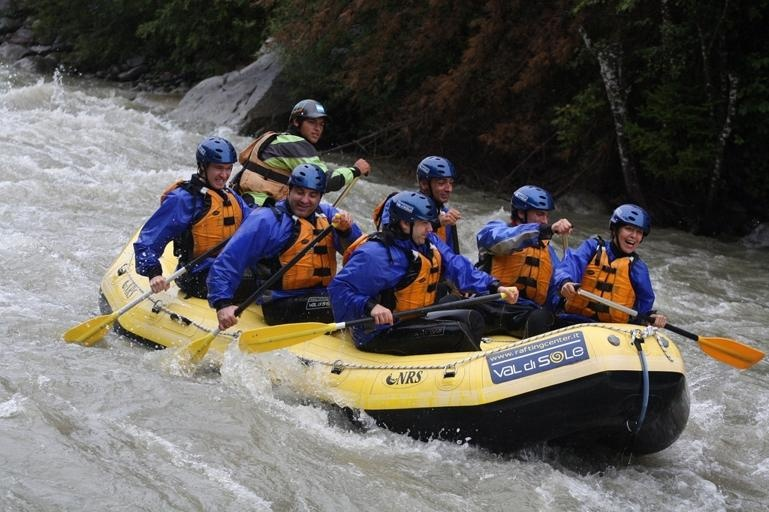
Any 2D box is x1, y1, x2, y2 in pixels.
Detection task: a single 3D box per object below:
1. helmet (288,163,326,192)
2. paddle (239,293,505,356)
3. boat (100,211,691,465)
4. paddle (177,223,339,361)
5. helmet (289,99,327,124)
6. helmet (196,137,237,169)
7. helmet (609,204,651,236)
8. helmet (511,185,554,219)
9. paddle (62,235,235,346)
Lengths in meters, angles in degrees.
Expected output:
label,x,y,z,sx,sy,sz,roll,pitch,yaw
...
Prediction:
label,x,y,z,sx,sy,sz,roll,pitch,yaw
helmet,-0.835,-0.868,9.533,0.274,0.373,0.327,8,23,-7
paddle,-0.162,0.760,9.344,3.152,0.364,0.231,-8,-11,6
boat,0.384,0.619,9.370,4.857,1.325,2.382,7,-3,32
paddle,-1.352,0.438,9.610,0.319,2.156,0.227,50,-3,-1
helmet,-0.977,-1.785,10.503,0.374,0.191,0.273,-7,-4,34
helmet,-2.030,-1.208,10.106,0.424,0.420,0.328,3,7,39
helmet,2.807,-0.436,9.630,0.306,0.423,0.369,12,18,-9
helmet,1.706,-0.630,9.902,0.403,0.250,0.300,18,16,25
paddle,-2.728,0.458,10.113,0.268,1.479,0.066,60,-16,-22
